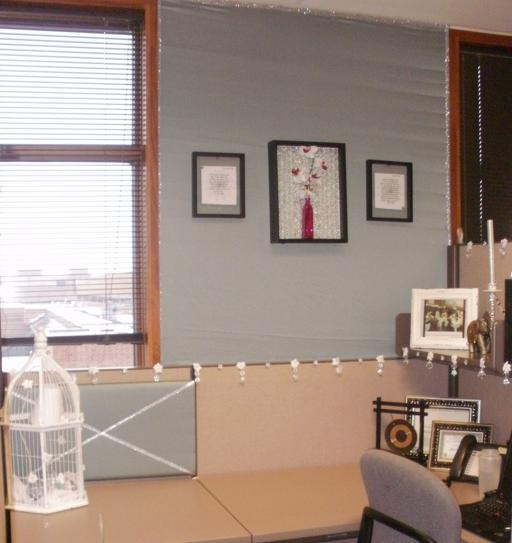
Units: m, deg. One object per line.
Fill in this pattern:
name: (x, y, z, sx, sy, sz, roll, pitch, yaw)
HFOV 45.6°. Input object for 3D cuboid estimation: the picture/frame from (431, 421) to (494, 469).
picture/frame: (0.856, 0.727, 2.530, 0.182, 0.169, 0.014, 3, -25, 14)

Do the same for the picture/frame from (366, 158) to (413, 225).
picture/frame: (0.620, -0.383, 2.889, 0.296, 0.378, 0.027, 0, 1, -18)

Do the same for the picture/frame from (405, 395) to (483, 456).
picture/frame: (0.813, 0.675, 2.636, 0.238, 0.215, 0.018, 2, -15, 9)

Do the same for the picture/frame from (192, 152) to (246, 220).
picture/frame: (-0.171, -0.372, 2.672, 0.275, 0.360, 0.022, -1, 1, -12)

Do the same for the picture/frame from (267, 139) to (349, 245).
picture/frame: (0.221, -0.355, 2.763, 0.438, 0.601, 0.065, 1, -7, -20)

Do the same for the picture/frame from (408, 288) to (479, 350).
picture/frame: (0.828, 0.212, 2.671, 0.253, 0.269, 0.025, -1, -6, 28)
